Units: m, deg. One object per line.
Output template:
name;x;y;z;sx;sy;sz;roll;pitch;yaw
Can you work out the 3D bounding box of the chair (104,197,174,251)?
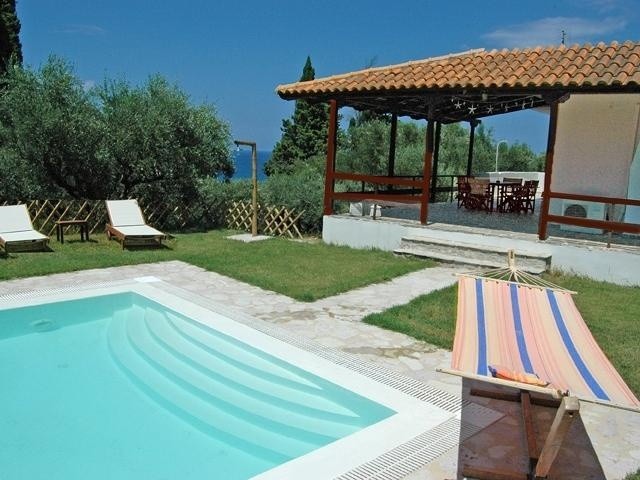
chair;-5.087;-0.371;13.404;1.078;0.979;2.281;-5;15;-31
